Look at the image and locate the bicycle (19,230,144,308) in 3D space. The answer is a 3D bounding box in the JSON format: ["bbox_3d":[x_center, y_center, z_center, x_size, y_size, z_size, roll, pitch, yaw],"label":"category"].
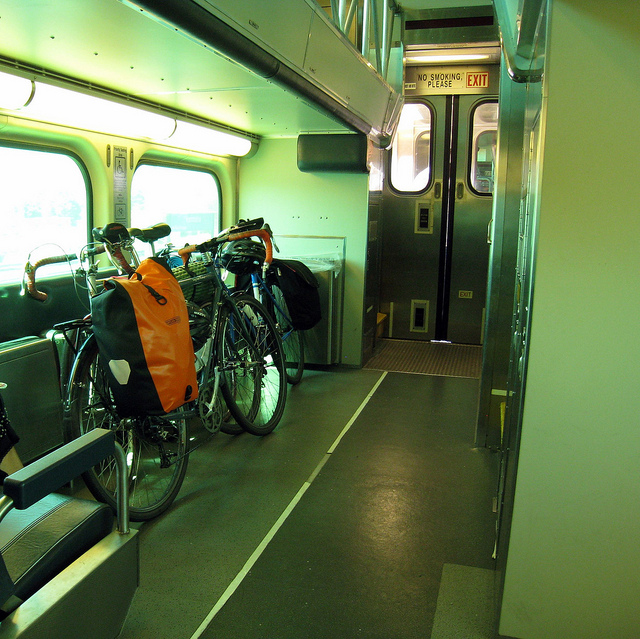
[{"bbox_3d":[-1.327,-0.255,3.408,0.790,0.484,0.581,9,13,38],"label":"bicycle"}]

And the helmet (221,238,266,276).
[{"bbox_3d":[-0.549,-0.458,4.411,0.291,0.276,0.292,-20,0,3],"label":"helmet"}]

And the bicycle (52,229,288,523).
[{"bbox_3d":[-0.683,0.368,3.572,0.841,1.308,1.891,-8,19,24],"label":"bicycle"}]
